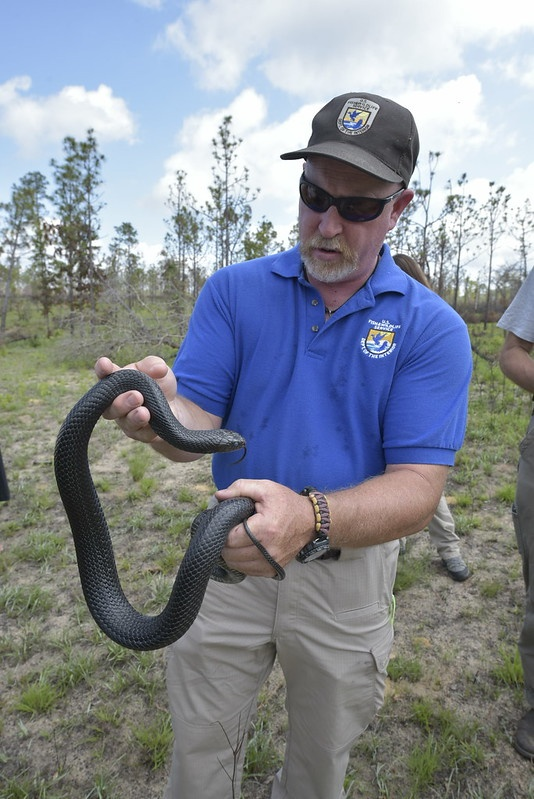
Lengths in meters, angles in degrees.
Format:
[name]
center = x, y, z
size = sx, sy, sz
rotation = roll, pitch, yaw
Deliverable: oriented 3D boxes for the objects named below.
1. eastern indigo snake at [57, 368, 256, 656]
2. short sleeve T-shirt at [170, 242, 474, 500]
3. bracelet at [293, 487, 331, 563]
[eastern indigo snake]
center = -0.464, 0.454, 2.577
size = 0.809, 1.143, 0.406
rotation = 5, 8, 16
[short sleeve T-shirt]
center = 0.263, -0.186, 3.040
size = 1.420, 1.289, 0.683
rotation = 13, 12, 11
[bracelet]
center = 0.220, 0.500, 2.552
size = 0.156, 0.230, 0.246
rotation = 1, -16, -8
